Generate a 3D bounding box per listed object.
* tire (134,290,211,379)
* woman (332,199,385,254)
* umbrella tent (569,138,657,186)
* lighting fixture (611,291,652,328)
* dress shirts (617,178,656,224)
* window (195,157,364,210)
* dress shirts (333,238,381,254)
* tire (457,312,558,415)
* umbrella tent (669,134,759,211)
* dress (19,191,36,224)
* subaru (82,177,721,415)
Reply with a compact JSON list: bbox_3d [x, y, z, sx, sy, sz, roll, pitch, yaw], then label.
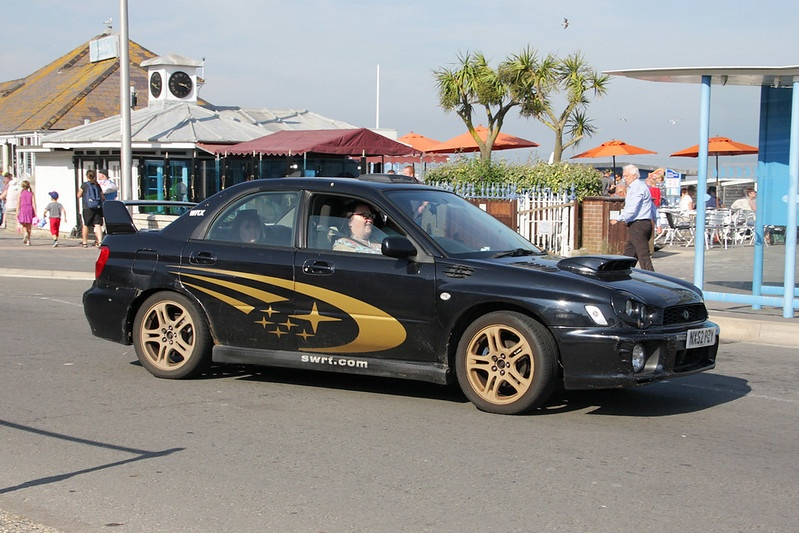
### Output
[{"bbox_3d":[-2.367,0.716,8.531,1.224,0.930,0.354,-2,-4,21],"label":"tire"},{"bbox_3d":[-0.387,-0.391,8.032,0.678,0.361,0.312,2,-9,-23],"label":"woman"},{"bbox_3d":[7.718,-3.773,29.020,2.461,1.314,2.204,1,6,27],"label":"umbrella tent"},{"bbox_3d":[2.065,0.408,7.157,0.399,0.237,0.150,26,-18,-24],"label":"lighting fixture"},{"bbox_3d":[3.974,-1.115,14.042,0.779,0.925,1.385,3,4,21],"label":"dress shirts"},{"bbox_3d":[-2.731,-1.969,17.541,4.379,0.850,3.481,0,-2,-9],"label":"window"},{"bbox_3d":[-0.411,-0.202,7.970,0.359,0.096,0.209,4,2,21],"label":"dress shirts"},{"bbox_3d":[1.057,0.919,7.540,0.386,0.922,1.131,6,-6,-36],"label":"tire"},{"bbox_3d":[11.102,-3.327,28.173,2.993,2.134,3.005,4,5,41],"label":"umbrella tent"},{"bbox_3d":[-11.376,-1.821,24.668,0.458,1.051,1.135,-3,10,-24],"label":"dress"},{"bbox_3d":[-0.218,0.217,8.585,5.742,1.471,2.585,0,2,23],"label":"subaru"}]
